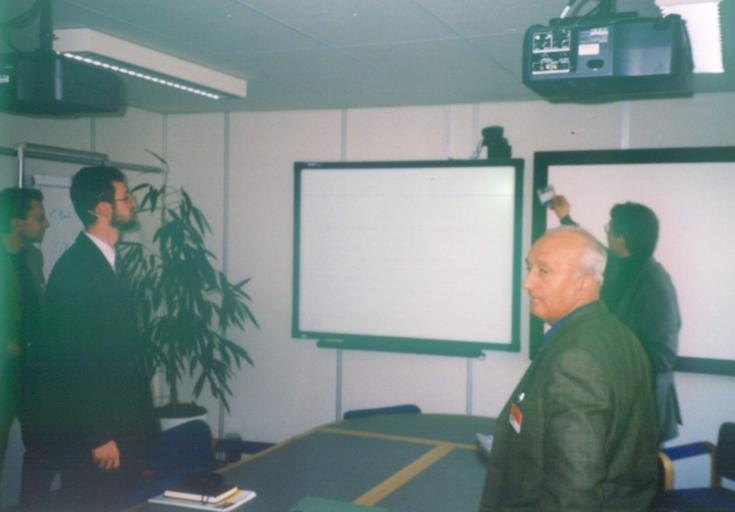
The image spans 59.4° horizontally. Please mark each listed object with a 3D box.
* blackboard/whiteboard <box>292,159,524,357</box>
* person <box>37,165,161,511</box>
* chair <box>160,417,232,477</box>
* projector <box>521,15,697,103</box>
[{"bbox_3d":[0.403,0.005,5.221,1.714,1.339,0.085,1,0,14],"label":"blackboard/whiteboard"},{"bbox_3d":[-1.425,0.431,3.477,0.577,1.825,0.411,1,5,-25],"label":"person"},{"bbox_3d":[-1.023,1.048,3.655,0.465,0.329,0.260,2,2,-39],"label":"chair"},{"bbox_3d":[1.224,-1.033,3.321,0.760,0.389,0.506,5,5,24],"label":"projector"}]
